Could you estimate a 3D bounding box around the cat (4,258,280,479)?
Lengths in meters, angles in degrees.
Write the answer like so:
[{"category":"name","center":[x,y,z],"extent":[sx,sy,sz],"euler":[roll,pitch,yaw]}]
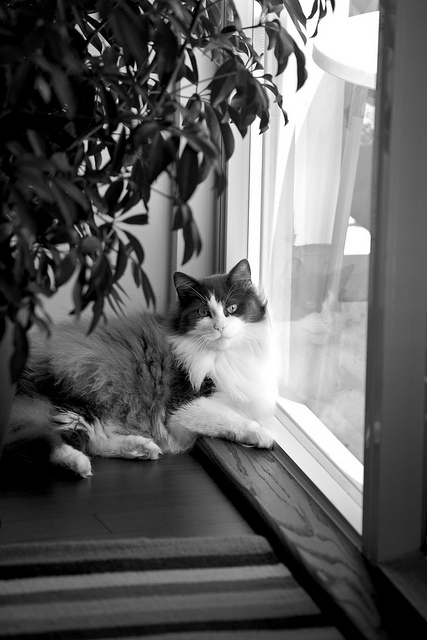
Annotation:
[{"category":"cat","center":[-0.188,0.067,1.429],"extent":[0.619,0.444,0.498],"euler":[5,9,30]}]
